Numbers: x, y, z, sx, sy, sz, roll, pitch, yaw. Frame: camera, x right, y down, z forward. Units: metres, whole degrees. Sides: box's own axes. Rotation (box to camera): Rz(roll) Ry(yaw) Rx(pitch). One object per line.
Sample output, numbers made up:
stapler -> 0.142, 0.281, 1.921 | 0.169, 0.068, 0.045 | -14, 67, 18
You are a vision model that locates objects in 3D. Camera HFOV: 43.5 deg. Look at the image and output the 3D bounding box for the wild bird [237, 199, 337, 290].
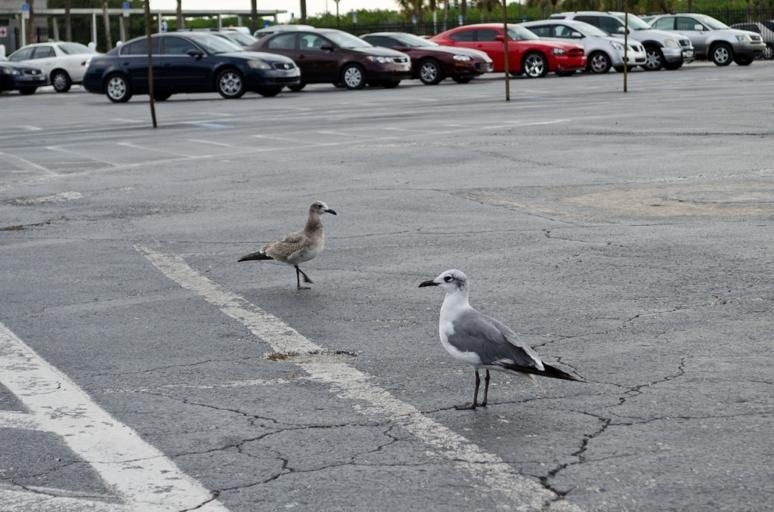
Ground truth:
wild bird -> -0.847, -0.114, 9.102 | 0.651, 0.795, 0.812 | 0, 9, 10
